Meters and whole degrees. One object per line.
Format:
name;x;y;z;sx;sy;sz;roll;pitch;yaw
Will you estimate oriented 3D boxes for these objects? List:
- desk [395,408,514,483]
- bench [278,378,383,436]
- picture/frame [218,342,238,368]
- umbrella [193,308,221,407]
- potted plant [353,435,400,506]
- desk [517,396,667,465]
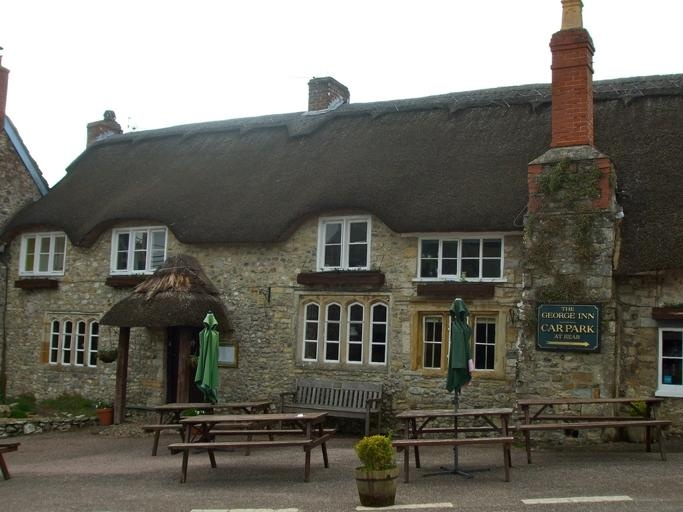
desk;1.898;3.187;14.409;2.249;0.860;1.966;-1;-17;1
bench;-0.297;3.544;18.539;2.539;0.985;0.865;-2;5;33
picture/frame;-2.898;2.498;19.970;0.542;0.580;0.137;-4;2;28
umbrella;-2.874;2.177;16.753;0.542;1.808;0.536;-6;2;1
potted plant;0.501;3.264;12.065;0.643;0.938;0.450;-5;1;-1
desk;4.526;3.105;14.522;2.605;0.758;1.074;-3;-4;8
